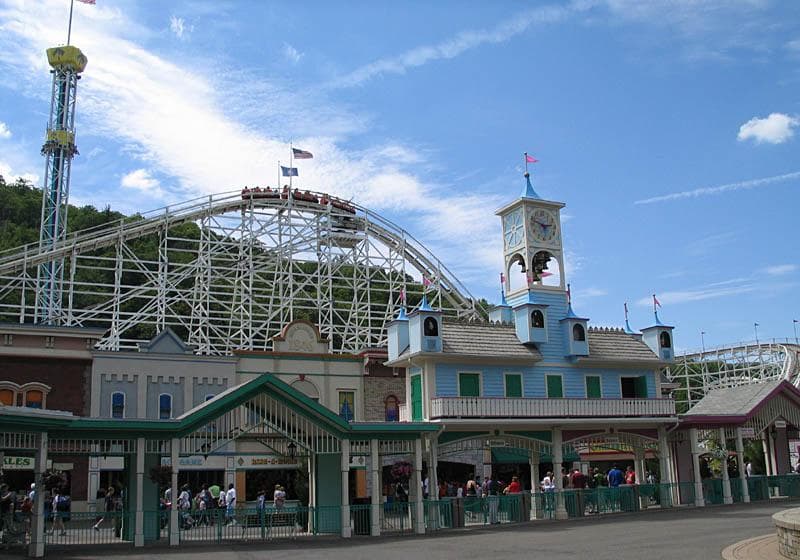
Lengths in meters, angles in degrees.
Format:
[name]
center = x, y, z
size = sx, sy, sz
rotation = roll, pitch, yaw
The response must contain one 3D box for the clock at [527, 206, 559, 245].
[clock]
center = 6.671, -2.486, 41.195
size = 2.049, 2.032, 0.248
rotation = 4, -15, -24
